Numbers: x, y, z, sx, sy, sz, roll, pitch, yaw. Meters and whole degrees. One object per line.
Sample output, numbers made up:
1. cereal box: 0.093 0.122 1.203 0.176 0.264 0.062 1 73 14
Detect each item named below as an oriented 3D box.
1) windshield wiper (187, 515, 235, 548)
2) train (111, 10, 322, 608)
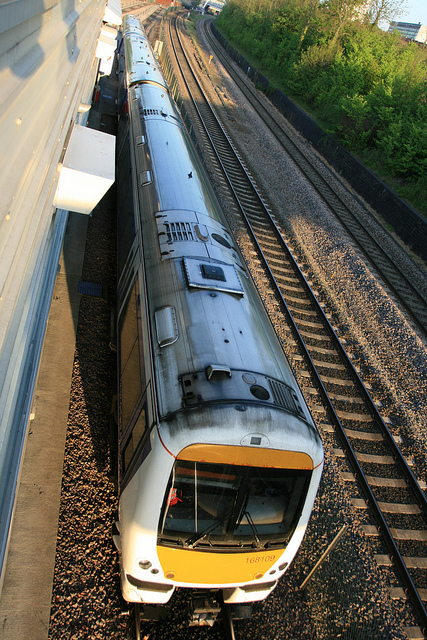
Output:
1. windshield wiper: -0.038 1.768 3.709 0.052 0.433 0.066 43 11 -23
2. train: -0.187 -1.921 6.996 1.588 2.934 10.176 0 49 -16
